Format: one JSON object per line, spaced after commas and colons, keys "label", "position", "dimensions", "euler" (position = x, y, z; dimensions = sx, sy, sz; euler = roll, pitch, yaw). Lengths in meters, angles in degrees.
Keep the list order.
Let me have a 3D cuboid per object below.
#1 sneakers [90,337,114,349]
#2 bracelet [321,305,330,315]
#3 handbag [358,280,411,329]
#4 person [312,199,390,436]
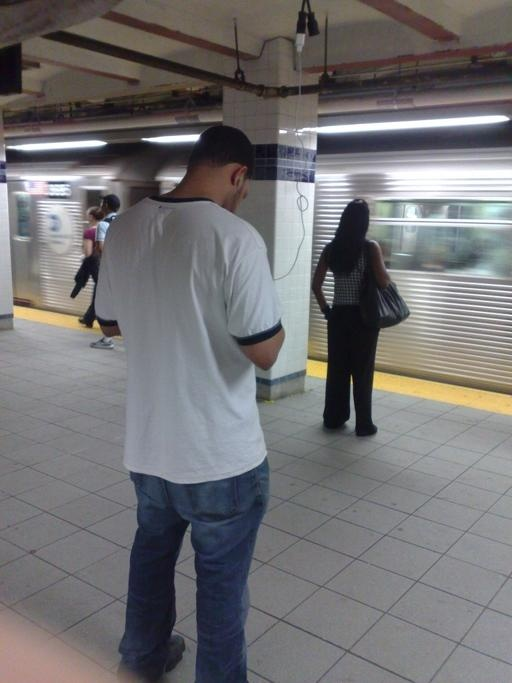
{"label": "sneakers", "position": [-2.448, 0.052, 8.148], "dimensions": [0.357, 0.148, 0.211], "euler": [4, -1, 7]}
{"label": "bracelet", "position": [0.654, -0.282, 4.776], "dimensions": [0.084, 0.082, 0.085], "euler": [8, -10, -20]}
{"label": "handbag", "position": [1.124, -0.308, 4.427], "dimensions": [0.439, 0.396, 0.214], "euler": [2, 8, 0]}
{"label": "person", "position": [0.877, -0.171, 4.680], "dimensions": [0.466, 2.158, 0.714], "euler": [-3, 9, -30]}
